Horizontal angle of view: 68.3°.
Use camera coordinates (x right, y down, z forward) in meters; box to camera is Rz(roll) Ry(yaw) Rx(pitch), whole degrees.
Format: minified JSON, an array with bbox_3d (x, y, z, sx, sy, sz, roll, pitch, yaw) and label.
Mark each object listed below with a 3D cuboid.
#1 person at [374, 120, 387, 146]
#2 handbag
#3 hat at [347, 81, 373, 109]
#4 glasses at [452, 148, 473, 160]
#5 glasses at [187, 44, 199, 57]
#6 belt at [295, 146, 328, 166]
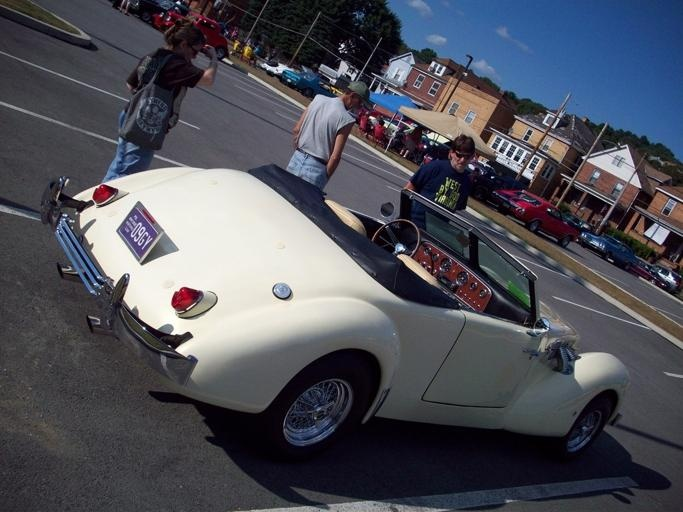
[{"bbox_3d":[1.953,-6.405,26.315,0.640,0.767,1.014,32,16,19],"label":"person"},{"bbox_3d":[-1.858,-1.364,4.858,0.442,0.599,0.309,17,16,-29],"label":"handbag"},{"bbox_3d":[0.273,-1.965,6.101,0.350,0.210,0.273,32,18,-25],"label":"hat"},{"bbox_3d":[1.400,-1.188,5.833,0.242,0.110,0.165,32,16,6],"label":"glasses"},{"bbox_3d":[-1.466,-2.047,4.987,0.092,0.032,0.099,16,0,20],"label":"glasses"},{"bbox_3d":[-0.387,-1.162,6.057,0.244,0.103,0.246,19,-14,7],"label":"belt"}]
